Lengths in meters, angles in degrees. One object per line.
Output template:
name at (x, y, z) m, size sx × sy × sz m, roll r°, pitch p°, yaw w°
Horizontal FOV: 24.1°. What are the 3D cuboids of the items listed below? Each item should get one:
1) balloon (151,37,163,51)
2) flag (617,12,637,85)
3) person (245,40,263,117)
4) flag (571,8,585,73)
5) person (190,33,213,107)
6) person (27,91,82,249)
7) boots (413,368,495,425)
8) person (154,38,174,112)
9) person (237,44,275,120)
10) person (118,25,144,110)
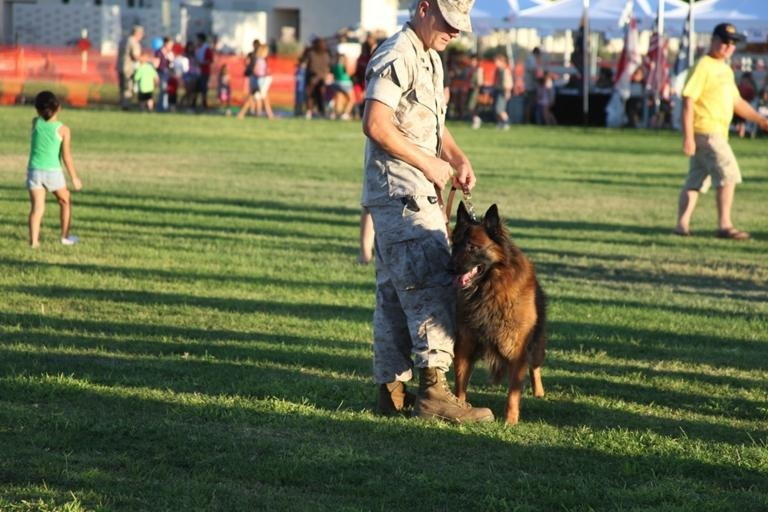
balloon at (-3.038, -2.833, 24.085) m, size 0.099 × 0.195 × 0.212 m, roll -3°, pitch 8°, yaw -36°
flag at (3.386, -2.870, 24.892) m, size 0.181 × 0.934 × 0.823 m, roll 4°, pitch 7°, yaw 22°
person at (-1.726, -2.351, 23.802) m, size 0.237 × 1.004 × 0.393 m, roll 1°, pitch 6°, yaw -5°
flag at (2.634, -2.854, 24.406) m, size 0.165 × 0.797 × 0.601 m, roll 2°, pitch 7°, yaw 6°
person at (-2.434, -2.477, 24.168) m, size 0.253 × 1.023 × 0.504 m, roll 0°, pitch 6°, yaw -11°
person at (-4.661, -1.203, 25.291) m, size 0.683 × 2.213 × 0.642 m, roll 0°, pitch 6°, yaw -12°
boots at (0.860, 1.773, 21.903) m, size 1.091 × 0.804 × 0.449 m, roll 0°, pitch 2°, yaw -5°
person at (-2.962, -2.456, 24.293) m, size 0.231 × 1.001 × 0.515 m, roll 0°, pitch 6°, yaw -7°
person at (-1.652, -2.309, 23.812) m, size 0.369 × 0.923 × 0.268 m, roll 1°, pitch 2°, yaw 34°
person at (-3.419, -2.600, 24.385) m, size 0.326 × 0.390 × 0.985 m, roll -16°, pitch -27°, yaw -30°
